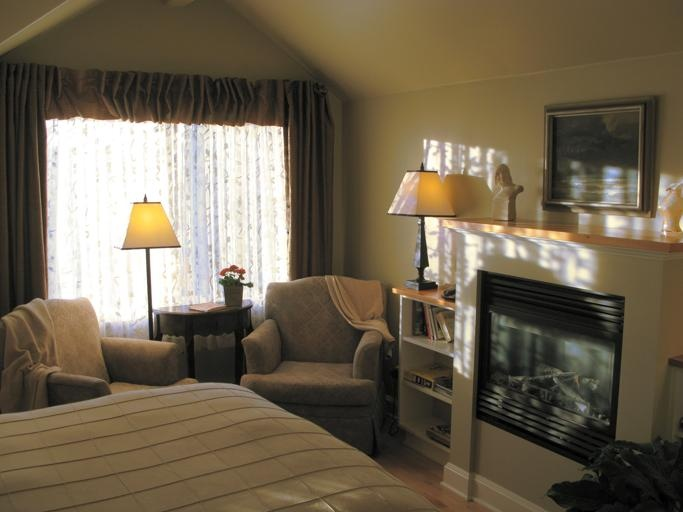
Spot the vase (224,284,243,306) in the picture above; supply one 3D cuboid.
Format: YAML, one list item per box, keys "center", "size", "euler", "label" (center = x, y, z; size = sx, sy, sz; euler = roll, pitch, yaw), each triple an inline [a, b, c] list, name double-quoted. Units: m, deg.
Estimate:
- center: [-0.849, 0.305, 4.600]
  size: [0.154, 0.143, 0.143]
  euler: [-2, -1, 6]
  label: "vase"

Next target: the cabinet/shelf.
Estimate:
- center: [0.695, 0.987, 4.600]
  size: [0.392, 1.458, 0.876]
  euler: [-11, 2, 17]
  label: "cabinet/shelf"

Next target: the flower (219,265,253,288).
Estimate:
- center: [-0.860, 0.162, 4.627]
  size: [0.215, 0.105, 0.225]
  euler: [1, -3, -4]
  label: "flower"

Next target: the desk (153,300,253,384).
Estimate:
- center: [-1.032, 0.728, 4.533]
  size: [0.682, 0.691, 0.443]
  euler: [-4, 6, -25]
  label: "desk"

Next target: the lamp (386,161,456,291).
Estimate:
- center: [0.613, -0.209, 4.086]
  size: [0.454, 0.893, 0.502]
  euler: [4, 7, 30]
  label: "lamp"

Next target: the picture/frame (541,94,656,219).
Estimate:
- center: [1.487, -0.579, 3.263]
  size: [0.053, 0.723, 0.669]
  euler: [-4, 7, -38]
  label: "picture/frame"
